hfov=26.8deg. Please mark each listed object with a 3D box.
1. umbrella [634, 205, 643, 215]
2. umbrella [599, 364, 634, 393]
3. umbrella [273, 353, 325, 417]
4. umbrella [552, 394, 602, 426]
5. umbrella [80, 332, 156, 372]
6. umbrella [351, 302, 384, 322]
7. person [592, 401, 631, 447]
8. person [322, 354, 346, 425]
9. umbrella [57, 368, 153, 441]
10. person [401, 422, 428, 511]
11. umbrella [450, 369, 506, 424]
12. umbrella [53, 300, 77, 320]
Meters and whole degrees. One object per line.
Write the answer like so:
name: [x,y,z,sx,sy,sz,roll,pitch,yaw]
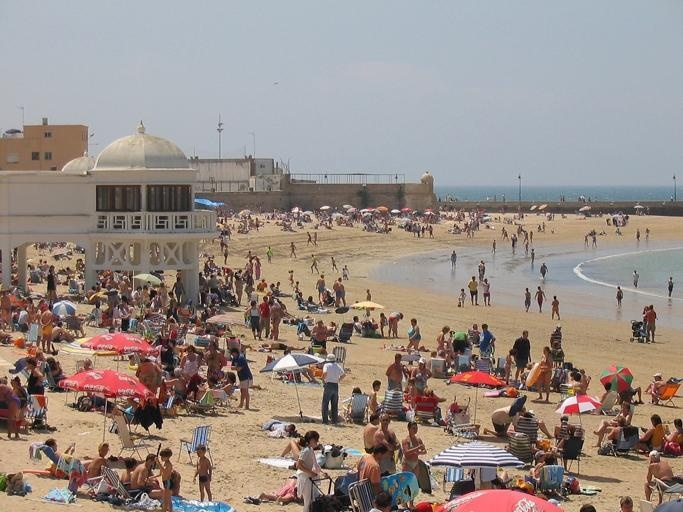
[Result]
umbrella: [25.925,-4.187,124.918,0.696,0.818,0.760,0,-17,7]
umbrella: [7.949,3.498,41.428,0.726,0.753,0.645,-39,-17,0]
umbrella: [-1.226,3.318,39.330,1.480,1.884,1.562,-7,-7,-9]
umbrella: [6.425,3.900,38.270,0.907,0.503,0.947,-4,-20,-36]
umbrella: [-6.154,2.449,39.857,2.084,0.754,1.744,4,6,-9]
umbrella: [0.832,1.964,50.255,0.722,0.519,0.739,-1,7,-31]
person: [7.349,4.537,38.860,1.127,1.117,1.133,3,9,41]
person: [-0.244,3.519,38.358,0.596,1.872,0.532,-2,4,0]
umbrella: [-6.056,3.780,36.480,2.084,1.837,1.975,-3,6,-35]
person: [1.847,5.022,34.852,0.696,2.091,0.653,-2,4,-9]
umbrella: [3.739,3.979,39.803,1.546,1.901,1.590,3,5,-34]
umbrella: [-8.619,1.649,44.529,0.691,0.571,1.212,3,6,-12]
